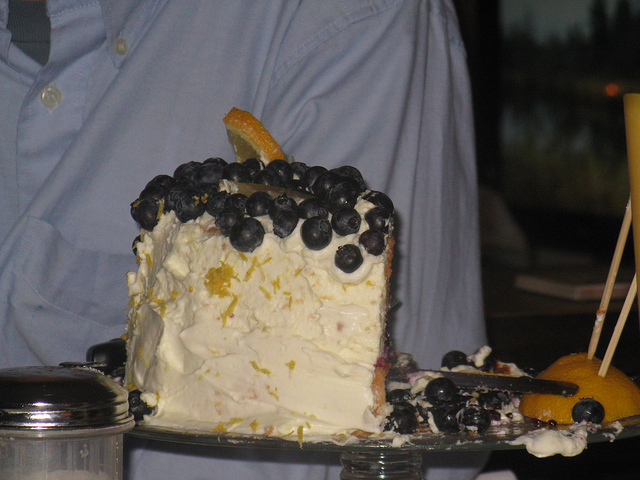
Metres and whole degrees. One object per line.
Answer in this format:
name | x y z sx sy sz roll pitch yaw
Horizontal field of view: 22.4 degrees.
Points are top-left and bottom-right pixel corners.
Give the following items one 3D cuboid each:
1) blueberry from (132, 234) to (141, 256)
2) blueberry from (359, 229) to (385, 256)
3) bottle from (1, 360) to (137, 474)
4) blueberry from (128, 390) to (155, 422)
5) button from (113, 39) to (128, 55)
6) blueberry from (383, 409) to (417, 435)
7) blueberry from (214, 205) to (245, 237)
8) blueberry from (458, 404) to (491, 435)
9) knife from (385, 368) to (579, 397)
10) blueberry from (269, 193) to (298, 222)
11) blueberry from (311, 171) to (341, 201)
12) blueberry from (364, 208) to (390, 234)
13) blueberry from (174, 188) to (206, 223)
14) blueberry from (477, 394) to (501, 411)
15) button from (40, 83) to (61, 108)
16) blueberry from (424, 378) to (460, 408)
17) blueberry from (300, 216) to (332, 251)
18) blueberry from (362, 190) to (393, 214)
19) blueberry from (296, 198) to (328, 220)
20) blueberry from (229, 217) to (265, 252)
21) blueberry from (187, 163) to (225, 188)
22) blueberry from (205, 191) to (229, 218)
blueberry | -0.767 0.010 6.707 0.053 0.068 0.024 1 1 18
blueberry | 0.207 0.007 6.382 0.099 0.096 0.034 4 13 3
bottle | -0.963 0.658 6.216 0.454 0.379 0.439 3 4 -12
blueberry | -0.717 0.662 6.442 0.112 0.109 0.039 -29 -3 -14
button | -0.890 -0.857 7.173 0.069 0.065 0.022 -2 6 -9
blueberry | 0.318 0.702 6.311 0.126 0.087 0.056 5 13 10
blueberry | -0.364 -0.083 6.468 0.117 0.114 0.062 -32 -7 10
blueberry | 0.615 0.688 6.307 0.120 0.088 0.088 4 -8 26
knife | 0.645 0.566 6.444 0.696 0.093 0.015 5 30 1
blueberry | -0.144 -0.135 6.454 0.117 0.110 0.081 -3 -14 5
blueberry | 0.028 -0.217 6.494 0.096 0.110 0.062 39 -3 34
blueberry | 0.226 -0.085 6.390 0.079 0.079 0.104 2 -2 -33
blueberry | -0.509 -0.151 6.554 0.113 0.139 0.127 10 25 -7
blueberry | 0.682 0.638 6.418 0.061 0.029 0.076 9 5 16
button | -1.185 -0.631 7.103 0.101 0.094 0.038 -2 8 -19
blueberry | 0.479 0.584 6.420 0.116 0.112 0.063 -38 12 -38
blueberry | -0.035 -0.022 6.414 0.138 0.129 0.125 -1 6 -12
blueberry | 0.230 -0.162 6.454 0.103 0.040 0.087 24 5 -8
blueberry | -0.032 -0.124 6.383 0.099 0.057 0.077 4 11 15
blueberry | -0.288 -0.026 6.470 0.134 0.144 0.127 4 9 10
blueberry | -0.454 -0.264 6.518 0.100 0.062 0.114 -3 -3 -3
blueberry | -0.406 -0.148 6.514 0.100 0.074 0.077 -18 -10 33
